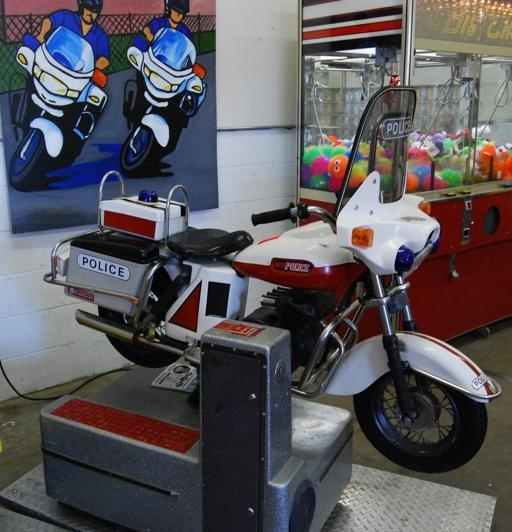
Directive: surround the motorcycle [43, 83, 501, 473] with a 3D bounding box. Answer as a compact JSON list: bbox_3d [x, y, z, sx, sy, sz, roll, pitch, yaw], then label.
[{"bbox_3d":[-0.067,-0.148,2.546,2.524,1.646,1.030,12,21,28],"label":"motorcycle"}]
